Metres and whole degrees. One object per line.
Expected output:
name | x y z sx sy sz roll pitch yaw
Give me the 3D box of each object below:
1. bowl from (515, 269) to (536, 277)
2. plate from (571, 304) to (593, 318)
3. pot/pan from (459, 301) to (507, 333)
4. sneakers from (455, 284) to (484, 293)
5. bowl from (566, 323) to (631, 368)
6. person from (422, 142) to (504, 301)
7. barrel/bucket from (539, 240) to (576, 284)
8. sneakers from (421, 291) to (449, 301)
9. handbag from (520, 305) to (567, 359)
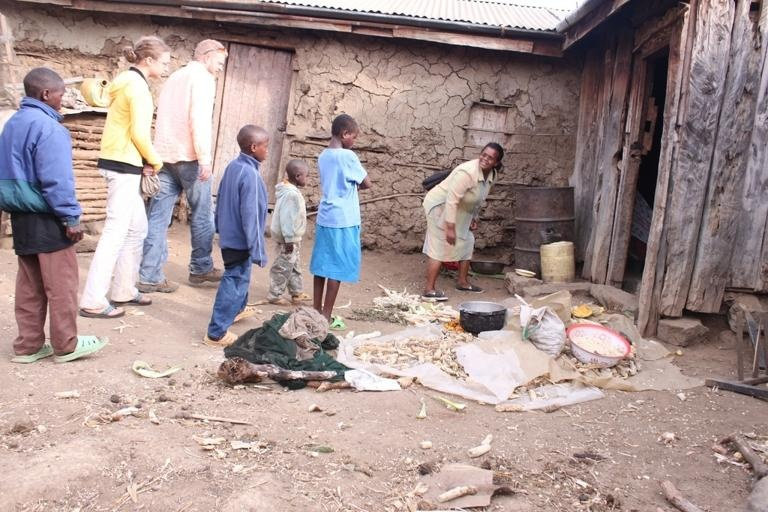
bowl | 1.906 0.230 8.158 0.277 0.076 0.348 6 7 13
plate | 2.166 0.602 6.604 0.219 0.106 0.273 7 7 19
pot/pan | 1.046 0.669 6.448 0.518 0.302 0.436 8 8 27
sneakers | 1.160 0.435 8.154 0.338 0.078 0.122 -1 4 1
bowl | 2.062 0.867 5.871 0.623 0.312 0.484 7 8 22
person | 0.967 -0.458 7.838 0.905 2.005 0.857 6 9 3
barrel/bucket | 2.194 0.092 8.165 0.570 0.527 0.522 -4 0 0
sneakers | 0.641 0.504 7.652 0.317 0.106 0.123 2 6 8
handbag | 1.539 0.760 5.895 0.383 0.209 0.359 37 24 -25
